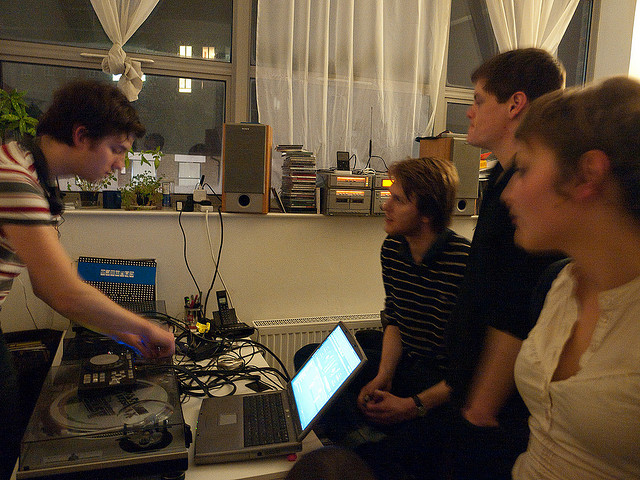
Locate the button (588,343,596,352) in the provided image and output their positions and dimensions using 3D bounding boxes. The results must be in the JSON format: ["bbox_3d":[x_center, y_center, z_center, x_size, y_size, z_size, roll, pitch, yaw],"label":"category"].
[{"bbox_3d":[0.594,0.236,1.149,0.015,0.003,0.015,-46,20,-9],"label":"button"}]

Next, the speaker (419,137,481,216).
[{"bbox_3d":[0.760,-0.413,3.234,0.256,0.444,0.314,-4,5,-42],"label":"speaker"}]

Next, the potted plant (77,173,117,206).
[{"bbox_3d":[-1.106,-0.241,2.600,0.161,0.127,0.172,-1,1,4],"label":"potted plant"}]

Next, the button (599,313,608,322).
[{"bbox_3d":[0.619,0.170,1.146,0.004,0.019,0.017,11,-8,-41],"label":"button"}]

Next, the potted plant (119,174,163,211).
[{"bbox_3d":[-0.946,-0.237,2.808,0.184,0.185,0.190,0,3,-24],"label":"potted plant"}]

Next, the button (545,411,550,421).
[{"bbox_3d":[0.511,0.394,1.185,0.013,0.016,0.011,-7,8,-13],"label":"button"}]

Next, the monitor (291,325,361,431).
[{"bbox_3d":[0.011,0.433,1.716,0.224,0.198,0.326,39,9,-15],"label":"monitor"}]

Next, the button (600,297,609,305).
[{"bbox_3d":[0.617,0.132,1.143,0.016,0.017,0.003,10,17,42],"label":"button"}]

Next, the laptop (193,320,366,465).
[{"bbox_3d":[-0.138,0.476,1.710,0.523,0.312,0.428,-1,8,-3],"label":"laptop"}]
